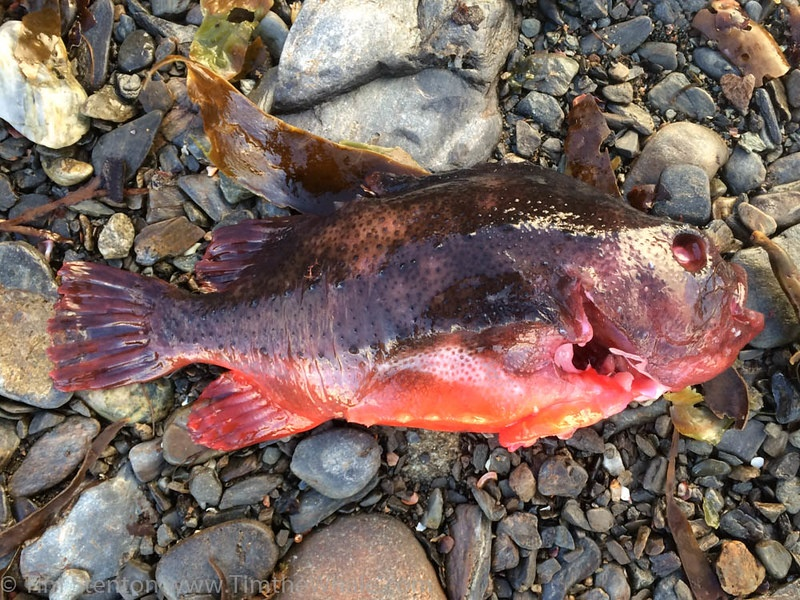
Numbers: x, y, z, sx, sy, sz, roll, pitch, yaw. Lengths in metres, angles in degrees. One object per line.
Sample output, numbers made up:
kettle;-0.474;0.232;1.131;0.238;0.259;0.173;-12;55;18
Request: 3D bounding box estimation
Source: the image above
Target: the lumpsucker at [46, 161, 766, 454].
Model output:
lumpsucker;0.215;0.121;5.441;4.673;1.300;2.223;-5;86;3
